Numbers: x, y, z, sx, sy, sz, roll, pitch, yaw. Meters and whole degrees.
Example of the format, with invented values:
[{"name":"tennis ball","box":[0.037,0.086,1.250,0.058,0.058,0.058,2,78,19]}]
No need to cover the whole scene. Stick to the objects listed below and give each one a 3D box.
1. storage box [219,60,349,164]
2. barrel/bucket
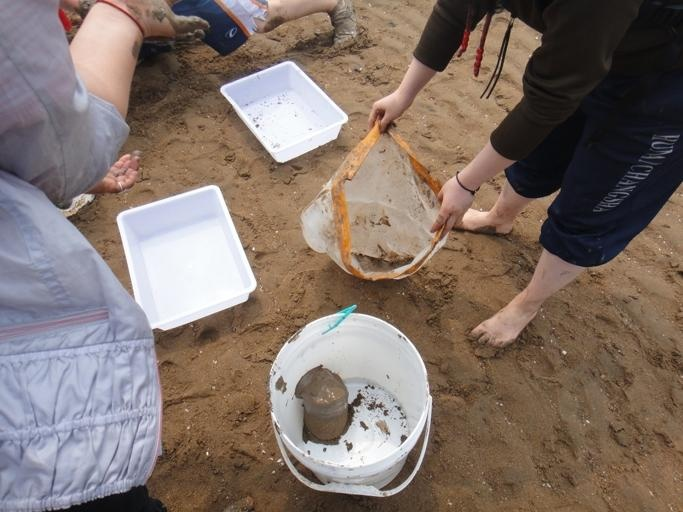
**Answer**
[{"name":"storage box","box":[-0.317,-0.853,3.724,0.535,0.333,0.745,-35,73,-12]},{"name":"barrel/bucket","box":[0.028,0.642,2.704,0.591,0.546,0.785,-7,65,-3]}]
